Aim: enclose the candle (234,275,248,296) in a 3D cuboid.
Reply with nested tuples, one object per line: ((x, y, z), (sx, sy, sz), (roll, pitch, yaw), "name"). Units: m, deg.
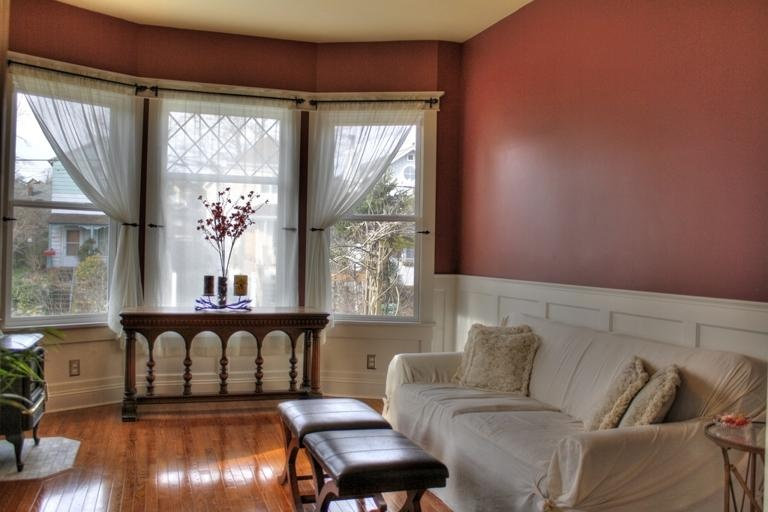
((-1.388, 0.290, 5.764), (0.110, 0.199, 0.112), (1, 8, -5), "candle")

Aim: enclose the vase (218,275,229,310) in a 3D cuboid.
((-1.569, 0.342, 5.790), (0.085, 0.289, 0.225), (0, 9, -16), "vase")

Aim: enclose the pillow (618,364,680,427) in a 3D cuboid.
((1.691, 0.894, 3.769), (0.405, 0.396, 0.218), (-2, 9, -27), "pillow")

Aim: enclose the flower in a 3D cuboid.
((-1.619, -0.242, 6.203), (0.843, 1.052, 0.799), (1, 4, -24), "flower")

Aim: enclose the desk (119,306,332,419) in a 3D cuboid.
((-1.520, 1.013, 5.727), (1.838, 0.984, 0.731), (2, -2, -19), "desk")

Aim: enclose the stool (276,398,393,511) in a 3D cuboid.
((-0.366, 1.324, 4.229), (0.661, 0.621, 0.720), (1, -5, -26), "stool")

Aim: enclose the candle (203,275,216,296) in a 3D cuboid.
((-1.679, 0.282, 5.699), (0.082, 0.192, 0.113), (-3, 10, -33), "candle")
